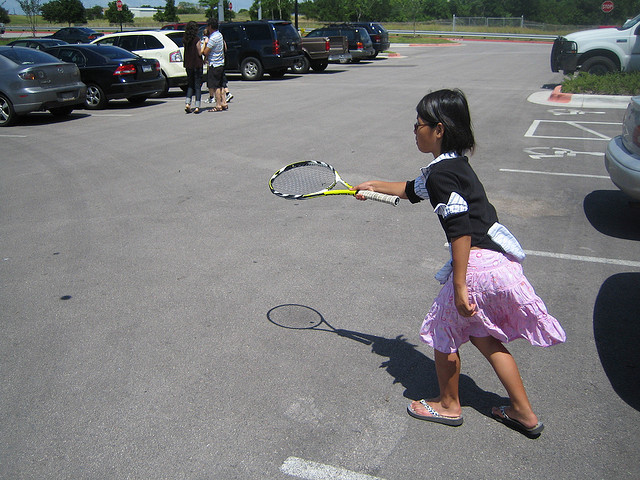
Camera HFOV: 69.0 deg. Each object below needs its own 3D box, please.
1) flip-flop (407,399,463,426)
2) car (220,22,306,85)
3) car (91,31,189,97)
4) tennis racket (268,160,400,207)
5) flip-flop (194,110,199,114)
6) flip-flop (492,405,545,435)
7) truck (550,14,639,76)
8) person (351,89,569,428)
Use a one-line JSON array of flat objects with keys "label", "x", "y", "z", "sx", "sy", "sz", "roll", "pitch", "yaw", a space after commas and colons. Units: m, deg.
[{"label": "flip-flop", "x": 0.790, "y": 1.190, "z": 3.156, "sx": 0.331, "sy": 0.107, "sz": 0.147, "roll": 9, "pitch": 9, "yaw": 29}, {"label": "car", "x": -2.725, "y": -9.279, "z": 22.651, "sx": 3.572, "sy": 2.759, "sz": 1.608, "roll": -17, "pitch": 29, "yaw": -19}, {"label": "car", "x": -7.178, "y": -6.978, "z": 18.717, "sx": 5.316, "sy": 2.093, "sz": 2.571, "roll": 11, "pitch": 22, "yaw": 16}, {"label": "tennis racket", "x": 0.141, "y": -0.593, "z": 4.241, "sx": 1.439, "sy": 0.127, "sz": 0.605, "roll": 3, "pitch": 47, "yaw": 51}, {"label": "flip-flop", "x": -3.903, "y": -4.024, "z": 14.626, "sx": 0.175, "sy": 0.057, "sz": 0.181, "roll": 0, "pitch": -1, "yaw": 7}, {"label": "flip-flop", "x": 1.319, "y": 1.181, "z": 3.089, "sx": 0.117, "sy": 0.095, "sz": 0.294, "roll": -5, "pitch": 27, "yaw": -45}, {"label": "truck", "x": 10.866, "y": -7.529, "z": 18.361, "sx": 3.705, "sy": 1.824, "sz": 2.173, "roll": 2, "pitch": 21, "yaw": 9}, {"label": "person", "x": 1.077, "y": 0.175, "z": 2.975, "sx": 0.927, "sy": 2.101, "sz": 0.810, "roll": 1, "pitch": 28, "yaw": 16}]
